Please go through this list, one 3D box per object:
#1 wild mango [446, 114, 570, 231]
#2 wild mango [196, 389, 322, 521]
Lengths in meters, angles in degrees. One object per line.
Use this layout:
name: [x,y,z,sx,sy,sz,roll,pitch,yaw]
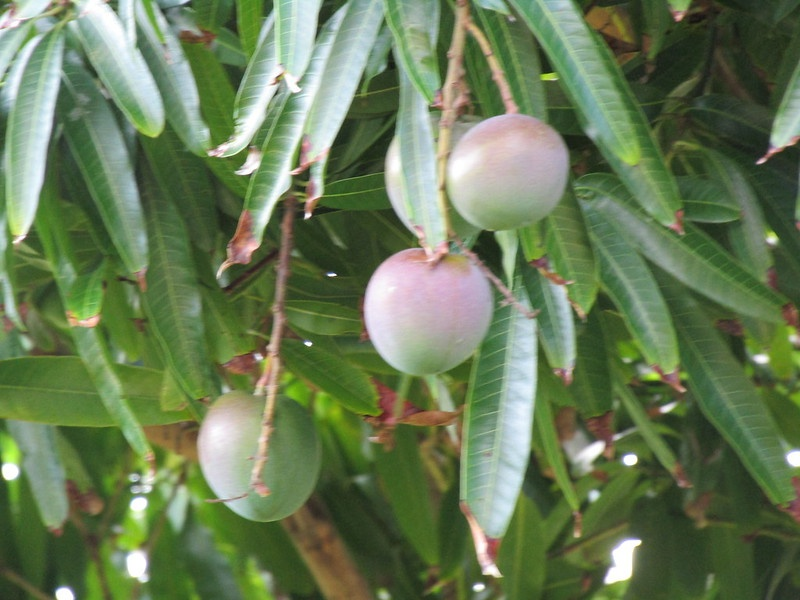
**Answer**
wild mango: [0.157,-0.175,1.528,0.200,0.119,0.140,-18,14,-26]
wild mango: [-0.208,0.236,1.698,0.181,0.182,0.129,-16,25,-25]
